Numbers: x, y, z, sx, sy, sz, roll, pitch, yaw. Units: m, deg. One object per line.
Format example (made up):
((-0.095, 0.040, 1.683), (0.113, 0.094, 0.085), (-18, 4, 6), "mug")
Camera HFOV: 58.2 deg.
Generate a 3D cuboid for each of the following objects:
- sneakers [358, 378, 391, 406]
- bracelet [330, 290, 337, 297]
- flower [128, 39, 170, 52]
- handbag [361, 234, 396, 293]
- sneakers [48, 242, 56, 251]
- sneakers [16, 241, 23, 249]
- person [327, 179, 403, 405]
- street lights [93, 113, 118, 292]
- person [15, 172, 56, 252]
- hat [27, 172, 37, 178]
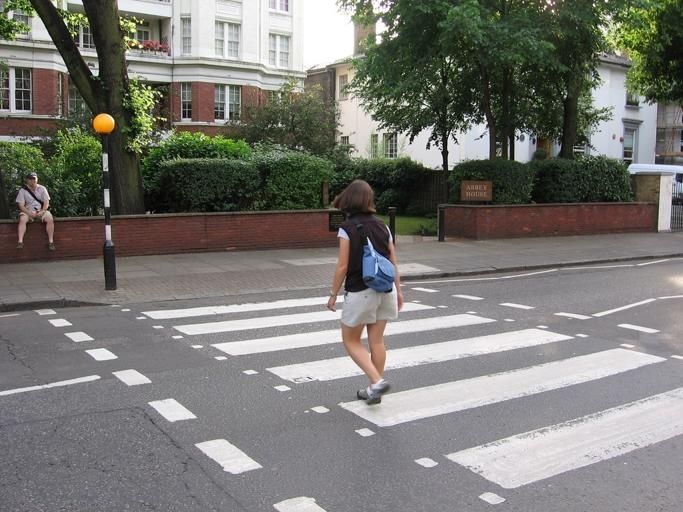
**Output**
((0.341, 1.445, 6.553), (0.157, 0.219, 0.454), (-6, 12, -14), "sneakers")
((-0.078, 0.403, 6.543), (0.071, 0.061, 0.056), (-16, 20, -32), "bracelet")
((-12.564, -13.811, 40.046), (2.292, 0.951, 1.618), (-4, 10, -31), "flower")
((0.366, 0.075, 6.336), (0.290, 0.587, 0.409), (-7, -18, 25), "handbag")
((-7.348, -0.264, 15.494), (0.182, 0.216, 0.438), (-4, 2, -33), "sneakers")
((-7.959, -0.283, 15.150), (0.126, 0.199, 0.130), (-4, 9, -31), "sneakers")
((0.252, 0.385, 6.530), (0.763, 2.367, 0.549), (1, 7, 4), "person")
((-4.801, -1.126, 12.538), (0.461, 3.607, 0.455), (-3, 0, -35), "street lights")
((-7.692, -1.109, 15.362), (0.863, 1.954, 0.518), (-3, 8, -28), "person")
((-7.806, -2.042, 15.404), (0.206, 0.129, 0.301), (7, 4, -34), "hat")
